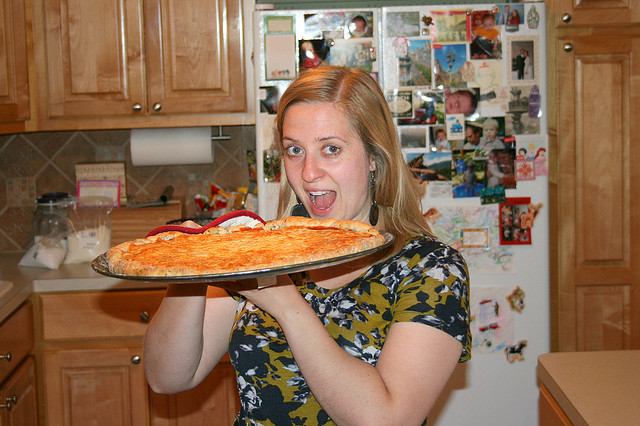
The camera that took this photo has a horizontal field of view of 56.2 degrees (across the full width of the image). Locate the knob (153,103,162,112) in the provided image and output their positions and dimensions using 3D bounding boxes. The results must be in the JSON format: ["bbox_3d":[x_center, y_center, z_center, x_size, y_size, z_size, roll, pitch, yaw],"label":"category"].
[{"bbox_3d":[-0.884,-0.579,3.250,0.042,0.048,0.019,-3,13,2],"label":"knob"}]

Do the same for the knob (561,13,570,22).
[{"bbox_3d":[1.184,-0.950,2.884,0.038,0.041,0.011,-4,13,-2],"label":"knob"}]

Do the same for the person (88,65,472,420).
[{"bbox_3d":[-0.073,0.124,1.983,1.098,1.183,0.680,-1,14,9],"label":"person"}]

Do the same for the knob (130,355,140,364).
[{"bbox_3d":[-0.941,0.744,3.035,0.046,0.042,0.018,-4,13,-4],"label":"knob"}]

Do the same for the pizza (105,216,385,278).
[{"bbox_3d":[-0.246,0.102,1.915,0.899,0.068,0.420,-3,13,-1],"label":"pizza"}]

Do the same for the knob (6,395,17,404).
[{"bbox_3d":[-1.425,0.864,2.760,0.031,0.035,0.027,8,-7,-32],"label":"knob"}]

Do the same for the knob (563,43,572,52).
[{"bbox_3d":[1.199,-0.808,2.895,0.040,0.042,0.017,1,14,18],"label":"knob"}]

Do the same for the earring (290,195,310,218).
[{"bbox_3d":[-0.081,-0.022,2.312,0.075,0.072,0.018,-25,-13,35],"label":"earring"}]

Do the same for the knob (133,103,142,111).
[{"bbox_3d":[-0.996,-0.582,3.246,0.038,0.037,0.022,-2,1,-1],"label":"knob"}]
